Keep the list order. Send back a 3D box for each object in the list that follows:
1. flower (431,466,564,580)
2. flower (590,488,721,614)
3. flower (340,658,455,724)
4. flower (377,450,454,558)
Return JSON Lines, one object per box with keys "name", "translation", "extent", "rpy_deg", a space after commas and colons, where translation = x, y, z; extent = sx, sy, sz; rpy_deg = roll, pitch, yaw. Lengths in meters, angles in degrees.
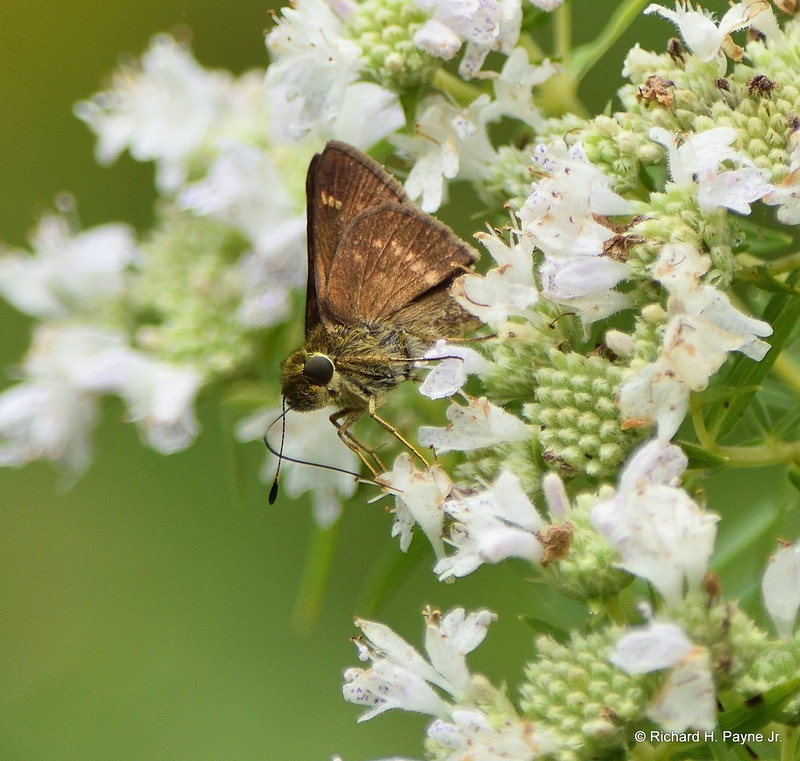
{"name": "flower", "translation": [0.265, 0.367, 2.719], "extent": [0.139, 0.298, 0.267], "rpy_deg": [22, -98, -18]}
{"name": "flower", "translation": [0.564, 0.350, 2.513], "extent": [0.267, 0.101, 0.247], "rpy_deg": [-23, -73, -4]}
{"name": "flower", "translation": [-0.007, 0.768, 2.880], "extent": [0.222, 0.100, 0.197], "rpy_deg": [-17, -19, 29]}
{"name": "flower", "translation": [0.058, 0.329, 2.945], "extent": [0.145, 0.239, 0.215], "rpy_deg": [-25, -39, -6]}
